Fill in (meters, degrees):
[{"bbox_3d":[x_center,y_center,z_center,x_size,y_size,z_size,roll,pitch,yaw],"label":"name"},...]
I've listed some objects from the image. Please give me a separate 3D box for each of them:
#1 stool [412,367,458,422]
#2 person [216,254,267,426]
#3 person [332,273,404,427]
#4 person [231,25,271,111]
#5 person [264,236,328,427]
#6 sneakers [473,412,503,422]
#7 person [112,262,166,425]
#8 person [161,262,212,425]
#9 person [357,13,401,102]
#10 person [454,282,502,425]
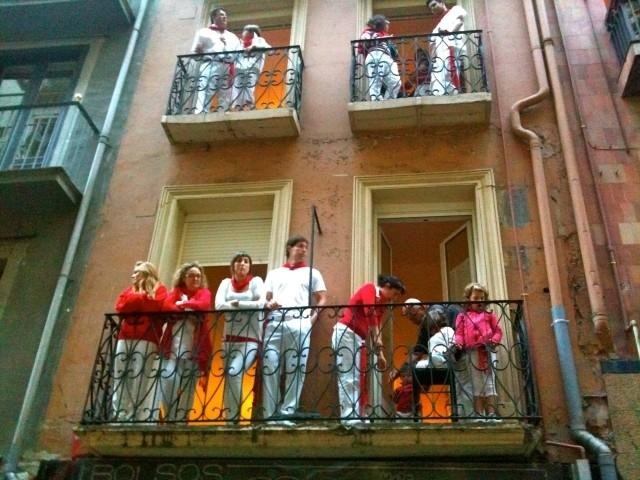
[{"bbox_3d":[1.394,1.775,6.240,0.429,0.488,0.538,-6,-20,10],"label":"stool"},{"bbox_3d":[-0.992,1.111,6.386,0.532,1.901,0.457,12,-24,-21],"label":"person"},{"bbox_3d":[0.529,1.227,6.253,0.790,1.773,0.629,3,-22,0],"label":"person"},{"bbox_3d":[-1.142,-2.911,8.847,0.529,2.107,0.578,6,-23,-8],"label":"person"},{"bbox_3d":[-0.332,1.019,6.465,0.740,2.282,0.587,5,-23,-6],"label":"person"},{"bbox_3d":[1.785,1.881,5.678,0.317,0.128,0.104,10,-24,-3],"label":"sneakers"},{"bbox_3d":[-2.175,1.183,6.418,0.635,1.868,0.548,3,-23,-2],"label":"person"},{"bbox_3d":[-1.605,1.215,6.456,0.597,1.860,0.574,9,-23,-15],"label":"person"},{"bbox_3d":[0.946,-2.837,8.495,0.668,1.847,0.504,-1,-23,8],"label":"person"},{"bbox_3d":[1.795,1.228,6.088,0.545,1.524,0.557,-6,-24,19],"label":"person"}]
